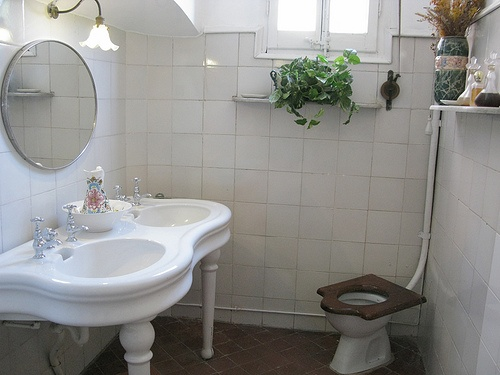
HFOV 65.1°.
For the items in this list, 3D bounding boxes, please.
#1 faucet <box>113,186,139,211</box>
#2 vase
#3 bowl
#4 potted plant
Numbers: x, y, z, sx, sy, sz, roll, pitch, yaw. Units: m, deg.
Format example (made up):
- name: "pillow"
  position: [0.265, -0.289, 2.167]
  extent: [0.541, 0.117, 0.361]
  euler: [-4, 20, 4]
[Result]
- name: "faucet"
  position: [-0.787, 0.051, 2.484]
  extent: [0.140, 0.145, 0.221]
  euler: [-6, 10, -17]
- name: "vase"
  position: [1.094, -0.634, 2.112]
  extent: [0.169, 0.334, 0.158]
  euler: [6, 15, 17]
- name: "bowl"
  position: [-0.801, 0.150, 2.053]
  extent: [0.325, 0.110, 0.327]
  euler: [3, 12, -1]
- name: "potted plant"
  position: [0.442, -0.672, 2.631]
  extent: [0.545, 0.336, 0.535]
  euler: [2, 28, 22]
